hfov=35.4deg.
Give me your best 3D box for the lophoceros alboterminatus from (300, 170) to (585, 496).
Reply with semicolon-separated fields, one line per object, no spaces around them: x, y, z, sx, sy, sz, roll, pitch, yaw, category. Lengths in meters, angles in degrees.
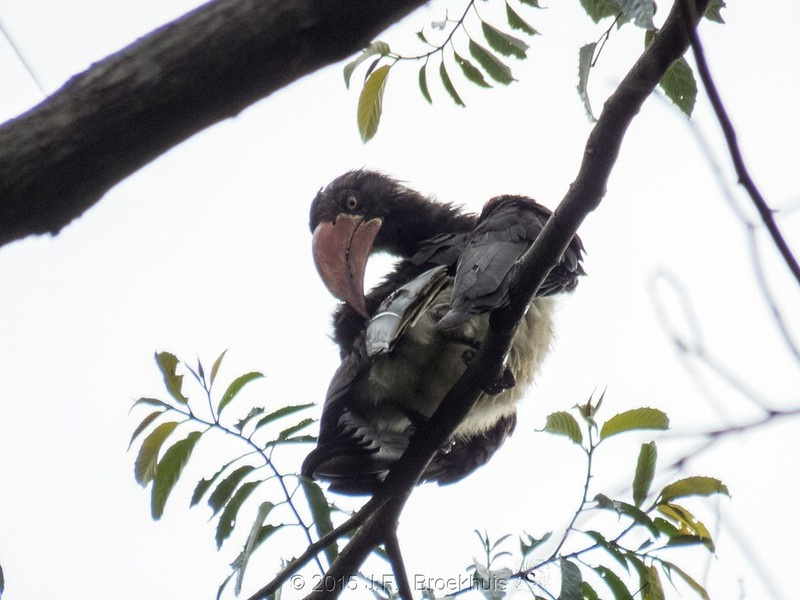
0.160;0.172;4.950;0.413;1.049;0.815;-32;-60;11;lophoceros alboterminatus
